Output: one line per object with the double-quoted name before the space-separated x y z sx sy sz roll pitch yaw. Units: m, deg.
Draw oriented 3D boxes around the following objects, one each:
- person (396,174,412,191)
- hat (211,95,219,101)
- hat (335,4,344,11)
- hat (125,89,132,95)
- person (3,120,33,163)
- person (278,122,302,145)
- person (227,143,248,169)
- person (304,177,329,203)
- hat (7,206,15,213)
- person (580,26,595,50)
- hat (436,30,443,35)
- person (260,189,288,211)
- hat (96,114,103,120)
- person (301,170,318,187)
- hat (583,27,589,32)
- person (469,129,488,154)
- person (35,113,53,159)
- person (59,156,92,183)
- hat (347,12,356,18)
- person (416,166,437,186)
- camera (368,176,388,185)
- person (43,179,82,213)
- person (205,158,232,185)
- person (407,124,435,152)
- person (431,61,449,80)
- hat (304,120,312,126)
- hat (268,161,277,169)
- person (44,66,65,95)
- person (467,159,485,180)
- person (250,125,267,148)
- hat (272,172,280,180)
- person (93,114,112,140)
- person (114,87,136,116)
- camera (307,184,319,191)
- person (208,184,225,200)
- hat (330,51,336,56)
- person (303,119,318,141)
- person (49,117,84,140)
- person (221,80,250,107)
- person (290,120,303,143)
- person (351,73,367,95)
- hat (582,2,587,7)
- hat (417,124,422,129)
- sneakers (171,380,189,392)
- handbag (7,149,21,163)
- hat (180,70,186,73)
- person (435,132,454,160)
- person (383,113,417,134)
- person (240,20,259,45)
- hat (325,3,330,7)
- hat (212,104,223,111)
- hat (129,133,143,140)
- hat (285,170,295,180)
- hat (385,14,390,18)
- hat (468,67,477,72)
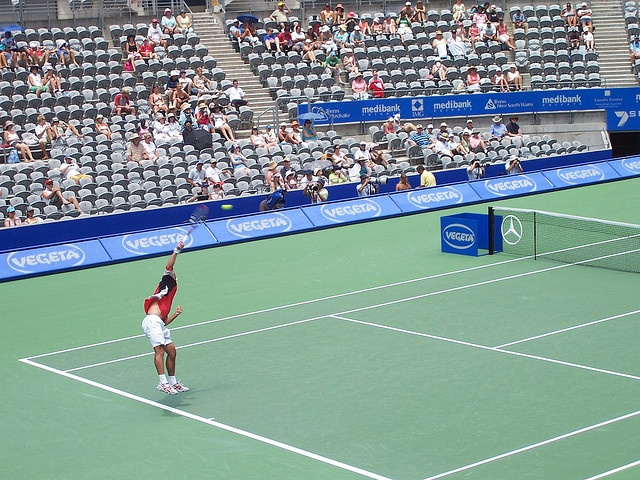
"person" 2.572 -1.776 25.306 0.393 0.554 0.846 -8 11 4
"hat" -3.751 -5.032 28.867 0.189 0.234 0.515 -4 -3 -10
"hat" 0.846 -10.439 36.362 0.353 0.160 0.477 -3 9 -9
"hat" -6.662 -5.090 27.901 0.130 0.217 0.707 -10 11 -7
"person" -9.398 -3.012 25.116 0.663 1.275 1.678 -13 12 -24
"person" -1.032 -3.583 27.915 0.514 0.675 0.984 -2 -1 -11
"person" -2.619 -2.659 25.809 0.524 0.765 1.068 -10 11 -6
"person" -0.088 -1.445 24.564 0.587 0.418 0.802 3 -7 3
"hat" -8.109 -0.792 21.224 0.182 0.147 0.297 -13 12 -23
"person" 12.265 -9.227 37.293 0.425 1.398 0.711 -5 -23 28
"hat" 5.150 -8.988 35.178 0.310 0.083 0.318 0 3 25
"person" -1.387 -1.167 23.704 0.830 0.612 0.960 -9 11 -4
"hat" -7.150 -3.962 26.266 0.193 0.148 0.196 3 15 10
"person" -0.308 -1.836 24.652 0.469 0.730 0.398 7 -14 -1
"hat" 12.301 -9.684 37.458 0.203 0.265 0.205 0 52 6
"person" 5.809 -3.574 29.829 0.591 0.824 0.923 -6 11 12
"person" -8.744 -3.264 25.679 0.536 1.309 1.044 -12 12 -18
"person" -7.202 -2.024 23.743 0.819 0.739 1.100 -12 11 -17
"hat" 1.391 -9.921 35.831 0.279 0.146 0.412 -2 8 1
"person" 3.394 -2.033 25.836 0.512 0.719 0.528 -7 11 7
"camera" 1.869 -1.832 24.970 0.723 0.236 0.467 2 15 42
"person" -6.971 -1.233 22.575 1.357 0.867 0.700 5 5 29
"person" -3.155 -2.086 24.909 0.804 1.058 0.780 1 7 35
"person" 3.735 -3.692 29.615 0.672 0.562 1.040 -1 28 -4
"person" 5.015 -7.020 33.854 0.517 0.689 1.073 -3 18 6
"hat" -0.415 -4.117 28.542 0.161 0.218 0.217 -1 14 -2
"hat" -1.454 -2.255 24.660 0.216 0.240 0.468 -10 11 -7
"person" -9.374 -5.604 28.360 0.545 1.072 1.320 -12 11 -16
"person" 5.284 -2.350 27.458 0.511 0.686 1.033 -5 12 19
"person" -2.134 -3.484 27.771 0.547 0.681 1.220 -9 11 -4
"hat" -1.329 -1.935 24.597 0.245 0.151 0.222 -8 11 1
"person" -7.114 -3.663 26.500 0.499 0.820 1.185 -11 11 -14
"person" -6.790 -4.700 27.897 0.655 0.953 0.548 -8 11 1
"camera" -0.239 -1.546 24.260 0.350 0.212 0.094 -9 11 -1
"person" -3.086 -1.442 24.060 0.433 0.436 0.758 -10 11 -6
"hat" 0.526 -7.557 33.079 0.284 0.121 0.403 -2 10 -1
"person" -0.350 -3.860 28.577 0.450 0.724 0.668 2 15 43
"person" -8.291 -3.594 26.363 0.878 0.674 1.595 -12 11 -17
"person" -3.147 -5.385 30.025 0.760 1.003 0.812 -12 12 -19
"person" -0.846 -3.644 27.974 0.298 0.820 0.345 -11 -16 16
"person" 1.551 -6.021 31.977 0.637 0.994 0.881 -1 6 -5
"hat" 12.781 -11.325 39.072 0.296 0.257 0.502 -1 16 9
"hat" 3.734 -4.217 30.418 0.278 0.163 0.441 -6 4 3
"sneakers" -2.351 2.416 13.416 0.327 0.146 0.120 5 7 24
"handbag" -9.358 -2.552 24.750 0.453 0.476 0.269 -2 -5 3
"hat" -5.288 -6.442 31.162 0.240 0.135 0.285 -11 13 -44
"person" 4.455 -3.348 29.342 0.636 0.829 1.380 -7 11 9
"person" 2.876 -4.305 30.559 1.498 0.832 0.641 -4 19 2
"person" -3.028 -8.790 34.517 0.563 0.728 1.325 -22 30 4
"hat" 0.335 -10.845 37.589 0.070 0.193 0.213 7 11 -16
"hat" -3.617 -4.602 28.302 0.308 0.121 0.342 -3 -6 0
"hat" -5.753 -3.213 25.188 0.331 0.094 0.325 -3 0 -17
"hat" -0.936 -1.973 24.971 0.317 0.318 0.725 -9 11 -2
"hat" 3.081 -10.123 36.802 0.254 0.122 0.191 -1 10 5
"hat" 6.362 -7.081 33.858 0.363 0.097 0.361 3 -4 -10
